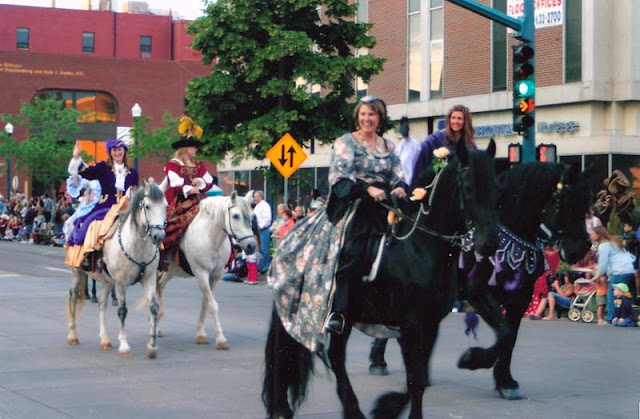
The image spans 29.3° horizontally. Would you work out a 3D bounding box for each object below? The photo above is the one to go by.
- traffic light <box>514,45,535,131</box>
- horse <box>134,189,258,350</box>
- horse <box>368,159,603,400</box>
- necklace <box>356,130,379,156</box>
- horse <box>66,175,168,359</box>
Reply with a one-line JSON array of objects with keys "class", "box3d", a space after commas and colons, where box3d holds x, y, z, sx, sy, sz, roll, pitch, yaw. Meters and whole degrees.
[{"class": "traffic light", "box3d": [6.110, -3.527, 36.428, 0.663, 2.624, 0.386, 2, 2, 8]}, {"class": "horse", "box3d": [-3.354, 1.606, 33.388, 1.544, 3.905, 5.424, 7, -4, -34]}, {"class": "horse", "box3d": [5.512, 1.572, 31.524, 5.192, 4.847, 9.757, 0, -1, 0]}, {"class": "necklace", "box3d": [1.117, -1.540, 28.330, 0.562, 0.201, 0.430, 39, -12, 4]}, {"class": "horse", "box3d": [-5.347, 1.706, 33.038, 2.013, 4.327, 6.177, 6, -6, -29]}]
